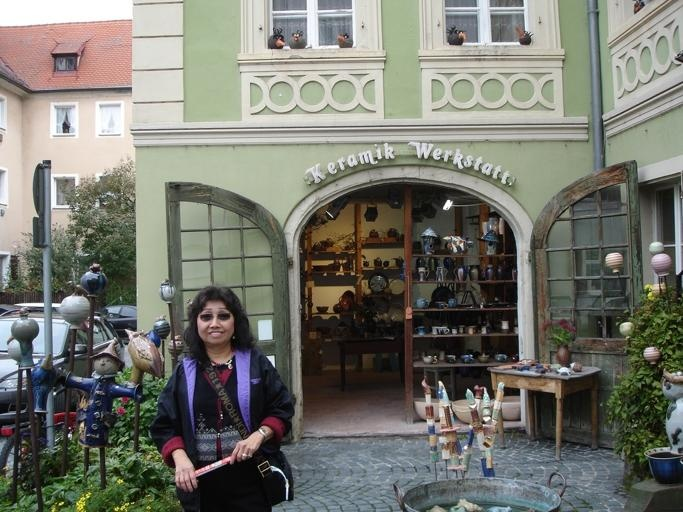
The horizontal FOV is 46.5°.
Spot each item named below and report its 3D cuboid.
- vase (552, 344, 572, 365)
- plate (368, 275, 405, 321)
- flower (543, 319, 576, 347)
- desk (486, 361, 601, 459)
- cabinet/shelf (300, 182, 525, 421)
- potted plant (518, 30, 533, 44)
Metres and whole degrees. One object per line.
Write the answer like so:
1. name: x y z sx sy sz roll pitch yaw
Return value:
1. vase: 2.717 1.224 9.789 0.193 0.268 0.206 -5 -11 26
2. plate: 0.858 0.787 15.335 0.736 0.218 0.891 -5 -37 1
3. flower: 2.691 0.958 9.837 0.316 0.369 0.336 1 -5 -12
4. desk: 2.527 1.909 9.762 0.779 0.998 1.196 0 -2 -37
5. cabinet/shelf: 1.152 0.779 12.644 2.914 3.122 1.120 -2 -11 11
6. potted plant: 2.440 -2.907 10.546 0.175 0.232 0.155 -2 -4 14
